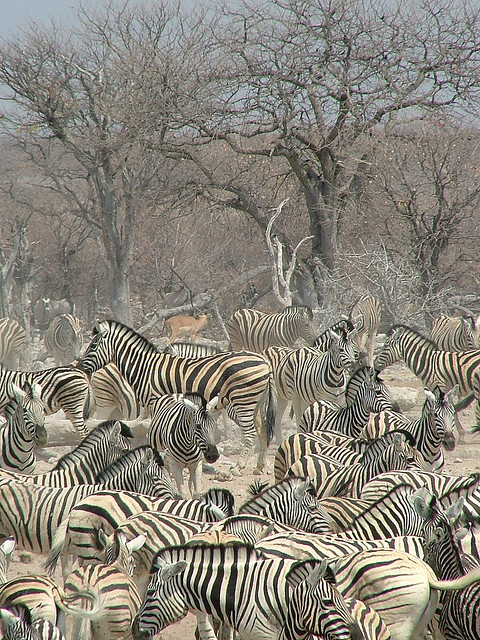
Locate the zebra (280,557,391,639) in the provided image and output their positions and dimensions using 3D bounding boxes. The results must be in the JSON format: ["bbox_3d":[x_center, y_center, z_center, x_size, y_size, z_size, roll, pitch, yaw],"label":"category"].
[{"bbox_3d":[0.449,1.304,3.909,0.520,0.443,0.341,1,1,3],"label":"zebra"}]

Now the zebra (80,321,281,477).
[{"bbox_3d":[-0.637,0.737,8.462,1.971,1.508,0.563,3,16,4],"label":"zebra"}]

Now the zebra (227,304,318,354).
[{"bbox_3d":[0.435,0.286,12.050,1.291,1.068,0.451,5,6,18],"label":"zebra"}]

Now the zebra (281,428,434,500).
[{"bbox_3d":[0.817,1.148,5.890,1.111,0.776,0.323,-4,-3,43],"label":"zebra"}]
